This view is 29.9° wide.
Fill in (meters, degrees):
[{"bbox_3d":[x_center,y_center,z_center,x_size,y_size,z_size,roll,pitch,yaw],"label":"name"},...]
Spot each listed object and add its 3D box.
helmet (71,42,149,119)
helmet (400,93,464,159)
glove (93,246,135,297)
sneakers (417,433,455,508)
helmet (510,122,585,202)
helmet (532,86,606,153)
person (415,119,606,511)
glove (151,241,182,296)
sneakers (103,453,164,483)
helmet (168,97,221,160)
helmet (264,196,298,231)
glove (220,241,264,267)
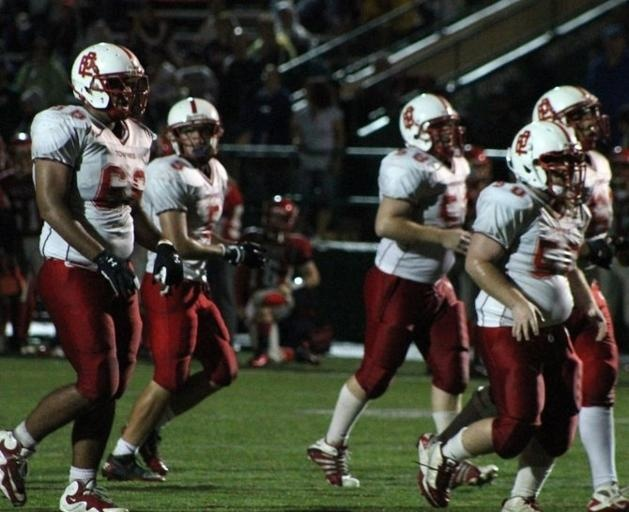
[{"bbox_3d":[-0.905,-0.846,5.597,0.402,0.314,0.333,20,30,34],"label":"helmet"},{"bbox_3d":[0.623,-0.696,6.268,0.386,0.360,0.293,2,10,16],"label":"helmet"},{"bbox_3d":[-0.888,0.082,5.320,0.064,0.212,0.166,-33,4,36],"label":"glove"},{"bbox_3d":[0.609,1.043,5.761,0.190,0.348,0.132,-17,-13,20],"label":"sneakers"},{"bbox_3d":[1.080,-0.449,5.451,0.405,0.355,0.308,8,20,32],"label":"helmet"},{"bbox_3d":[1.313,-0.735,6.178,0.397,0.329,0.296,2,25,30],"label":"helmet"},{"bbox_3d":[0.894,0.299,5.459,0.688,1.873,0.425,3,2,10],"label":"person"},{"bbox_3d":[-0.689,0.061,5.629,0.136,0.239,0.106,33,24,21],"label":"glove"},{"bbox_3d":[-0.964,1.106,6.138,0.370,0.152,0.121,5,-3,-10],"label":"sneakers"},{"bbox_3d":[-0.653,-0.691,6.360,0.300,0.306,0.345,-4,15,-16],"label":"helmet"},{"bbox_3d":[-0.295,-0.381,10.568,0.297,0.297,0.195,2,2,-17],"label":"helmet"},{"bbox_3d":[-0.394,-0.009,6.338,0.181,0.076,0.131,0,-21,28],"label":"glove"}]
